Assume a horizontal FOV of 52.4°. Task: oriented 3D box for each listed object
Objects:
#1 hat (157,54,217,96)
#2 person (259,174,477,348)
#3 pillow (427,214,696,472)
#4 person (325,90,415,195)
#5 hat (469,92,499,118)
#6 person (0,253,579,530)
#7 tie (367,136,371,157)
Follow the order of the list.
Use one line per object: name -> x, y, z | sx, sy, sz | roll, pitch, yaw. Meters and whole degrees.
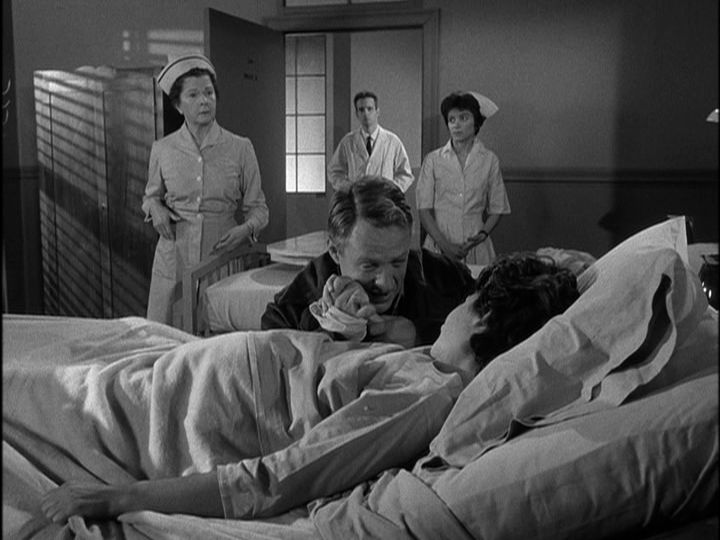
hat -> -0.928, -0.996, 3.955 | 0.284, 0.148, 0.327 | -5, 6, 40
person -> 0.073, -0.046, 2.538 | 0.817, 0.616, 0.457 | -6, 33, -6
pillow -> 0.574, 0.182, 1.986 | 0.829, 0.613, 0.414 | -1, 8, -9
person -> 0.059, -0.755, 5.484 | 0.553, 1.134, 0.443 | 1, -7, 2
hat -> 0.737, -0.958, 4.269 | 0.134, 0.126, 0.268 | 5, 10, 25
person -> -0.292, 0.386, 2.022 | 0.960, 0.428, 0.936 | 2, -1, 13
tie -> 0.069, -0.932, 5.466 | 0.047, 0.130, 0.018 | 2, 8, 15
